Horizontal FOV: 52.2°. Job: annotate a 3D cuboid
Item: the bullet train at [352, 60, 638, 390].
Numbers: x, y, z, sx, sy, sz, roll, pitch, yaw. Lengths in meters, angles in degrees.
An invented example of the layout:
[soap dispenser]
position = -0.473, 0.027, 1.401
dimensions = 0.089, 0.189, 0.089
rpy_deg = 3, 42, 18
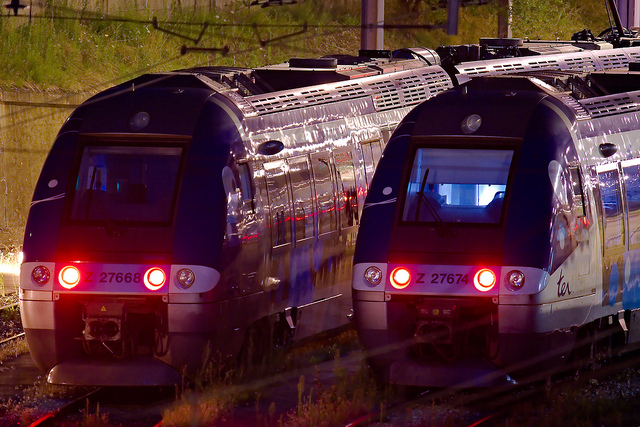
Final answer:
[bullet train]
position = 2.276, 0.222, 7.998
dimensions = 3.766, 3.957, 1.625
rpy_deg = -1, 2, -26
